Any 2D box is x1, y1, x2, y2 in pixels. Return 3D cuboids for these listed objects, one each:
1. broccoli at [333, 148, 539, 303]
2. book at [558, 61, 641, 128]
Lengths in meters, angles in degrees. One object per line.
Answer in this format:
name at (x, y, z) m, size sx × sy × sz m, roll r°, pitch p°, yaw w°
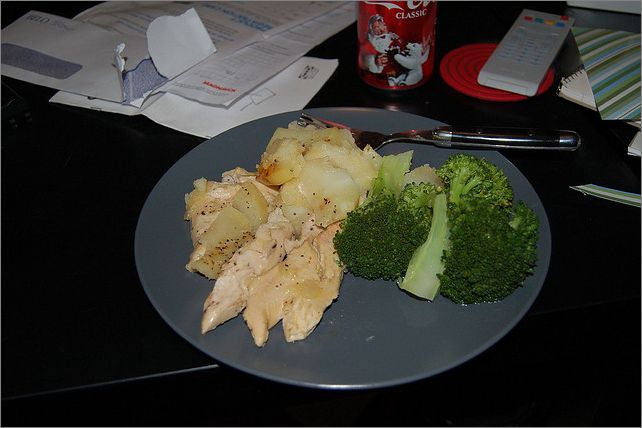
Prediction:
broccoli at (0.361, 0.047, 1.420) m, size 0.443 × 0.169 × 0.466 m, roll 40°, pitch 81°, yaw 25°
book at (0.971, -0.449, 1.787) m, size 0.193 × 0.055 × 0.237 m, roll 2°, pitch 46°, yaw -35°
